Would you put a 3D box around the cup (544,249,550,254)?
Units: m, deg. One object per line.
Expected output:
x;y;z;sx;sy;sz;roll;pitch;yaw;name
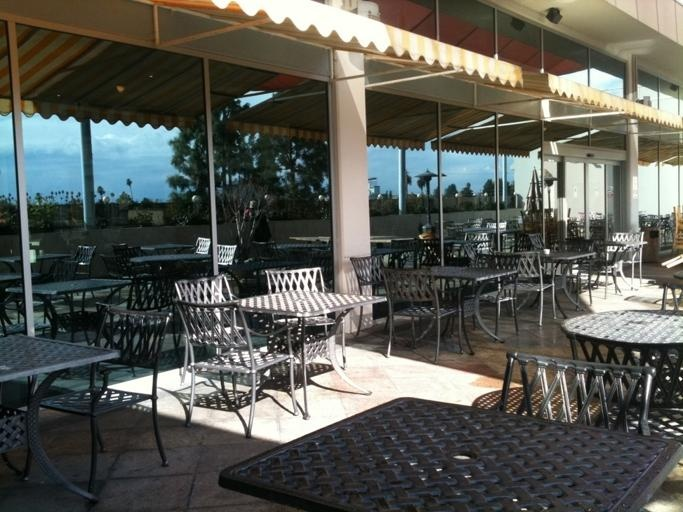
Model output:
3.492;-0.092;9.267;0.117;0.080;0.112;-1;2;0;cup
